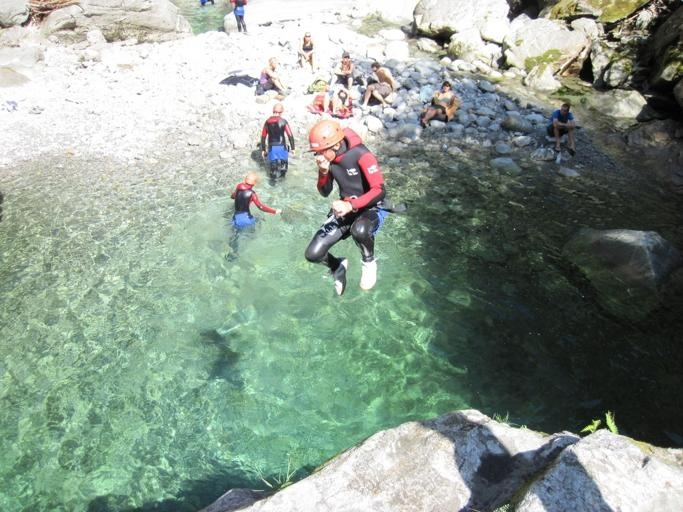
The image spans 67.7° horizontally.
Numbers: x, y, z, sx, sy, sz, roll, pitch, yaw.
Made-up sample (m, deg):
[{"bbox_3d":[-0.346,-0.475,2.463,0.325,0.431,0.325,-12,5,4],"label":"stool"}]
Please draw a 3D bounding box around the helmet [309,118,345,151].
[{"bbox_3d":[-0.261,-2.122,9.157,0.615,0.330,0.477,-25,67,-6],"label":"helmet"}]

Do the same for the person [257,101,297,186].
[{"bbox_3d":[-1.756,-3.103,13.846,0.893,1.817,1.401,-4,47,-6],"label":"person"}]

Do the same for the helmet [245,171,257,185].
[{"bbox_3d":[-2.060,-1.792,11.743,0.251,0.268,0.327,20,43,-9],"label":"helmet"}]

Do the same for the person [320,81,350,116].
[{"bbox_3d":[-0.138,-5.319,16.915,0.987,0.680,1.696,3,46,0],"label":"person"}]

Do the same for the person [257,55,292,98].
[{"bbox_3d":[-2.354,-6.085,17.034,1.123,1.154,0.917,-5,47,-7],"label":"person"}]

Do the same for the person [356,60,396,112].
[{"bbox_3d":[1.312,-5.760,17.128,0.931,1.008,1.228,16,48,12],"label":"person"}]

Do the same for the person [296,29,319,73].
[{"bbox_3d":[-1.302,-7.684,18.888,0.677,1.037,1.453,-2,46,-4],"label":"person"}]

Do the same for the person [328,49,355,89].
[{"bbox_3d":[0.074,-6.481,17.763,0.754,1.126,1.325,3,8,-5],"label":"person"}]

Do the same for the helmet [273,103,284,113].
[{"bbox_3d":[-1.685,-3.985,13.595,0.226,0.284,0.279,3,85,-6],"label":"helmet"}]

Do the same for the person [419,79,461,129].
[{"bbox_3d":[3.049,-4.870,16.200,0.988,1.026,1.876,26,46,22],"label":"person"}]
